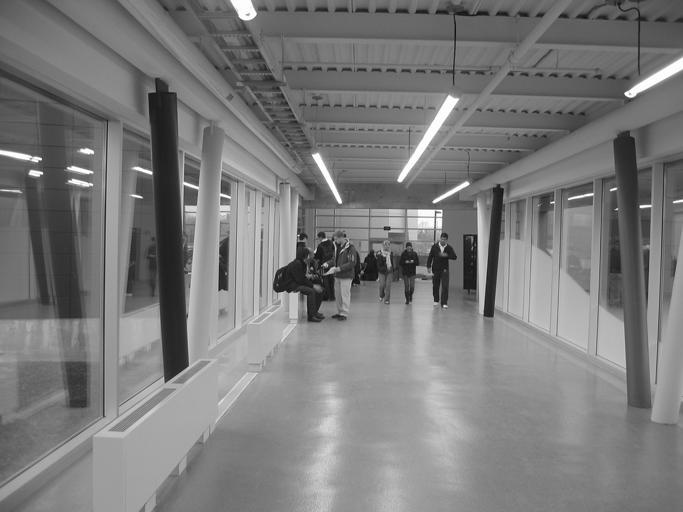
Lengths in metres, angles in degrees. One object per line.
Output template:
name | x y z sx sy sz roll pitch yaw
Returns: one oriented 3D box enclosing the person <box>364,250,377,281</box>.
person | 1.288 0.416 21.355 0.657 1.503 1.952 1 4 4
